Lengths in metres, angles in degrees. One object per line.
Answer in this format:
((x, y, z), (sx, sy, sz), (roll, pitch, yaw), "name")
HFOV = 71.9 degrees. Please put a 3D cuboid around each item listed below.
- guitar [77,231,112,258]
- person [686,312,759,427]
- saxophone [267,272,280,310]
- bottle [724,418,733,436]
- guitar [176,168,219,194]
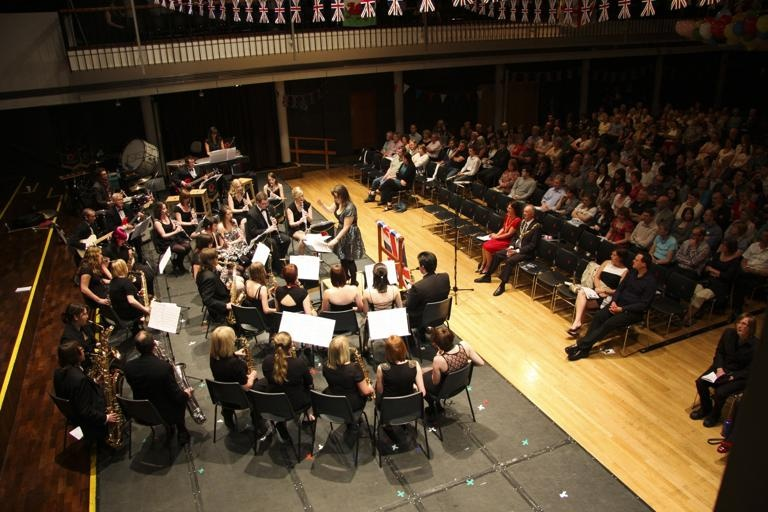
((-5.811, -0.219, 10.638), (0.555, 0.216, 0.093), (-29, 17, -33), "guitar")
((5.134, 1.711, 8.052), (0.584, 1.589, 1.017), (17, 31, 39), "person")
((-2.009, 0.660, 9.605), (0.199, 0.776, 0.325), (-6, 57, 2), "saxophone")
((4.962, 2.487, 7.678), (0.061, 0.161, 0.224), (14, 72, 29), "bottle")
((-4.880, -1.952, 13.914), (1.327, 0.559, 0.189), (-24, 12, -26), "guitar")
